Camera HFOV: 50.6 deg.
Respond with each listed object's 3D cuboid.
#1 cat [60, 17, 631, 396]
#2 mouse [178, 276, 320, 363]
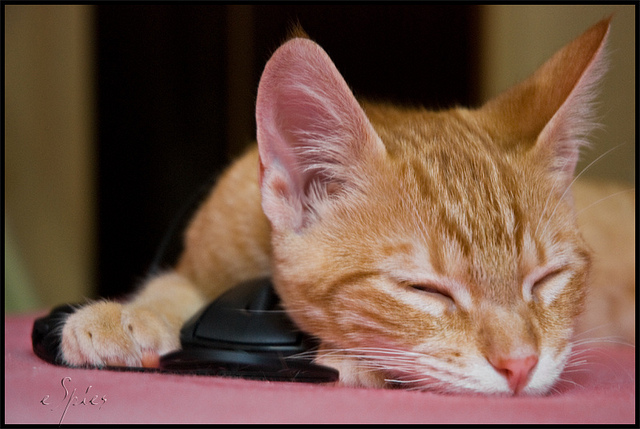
[{"bbox_3d":[0.160,-0.056,1.926,1.437,0.921,0.707,3,25,6],"label":"cat"},{"bbox_3d":[-0.193,0.281,1.877,0.389,0.133,0.251,0,25,-1],"label":"mouse"}]
